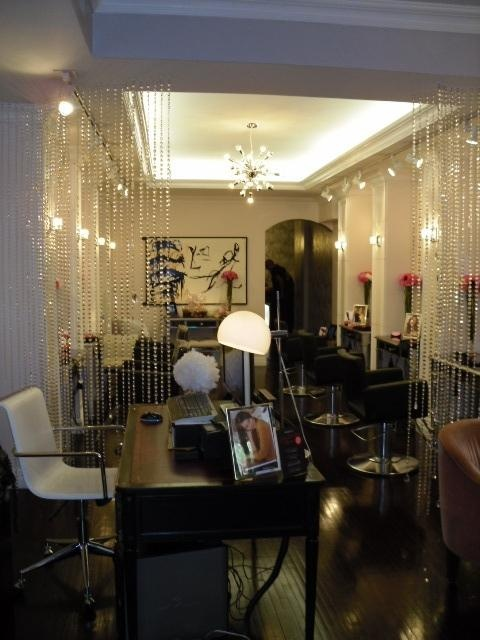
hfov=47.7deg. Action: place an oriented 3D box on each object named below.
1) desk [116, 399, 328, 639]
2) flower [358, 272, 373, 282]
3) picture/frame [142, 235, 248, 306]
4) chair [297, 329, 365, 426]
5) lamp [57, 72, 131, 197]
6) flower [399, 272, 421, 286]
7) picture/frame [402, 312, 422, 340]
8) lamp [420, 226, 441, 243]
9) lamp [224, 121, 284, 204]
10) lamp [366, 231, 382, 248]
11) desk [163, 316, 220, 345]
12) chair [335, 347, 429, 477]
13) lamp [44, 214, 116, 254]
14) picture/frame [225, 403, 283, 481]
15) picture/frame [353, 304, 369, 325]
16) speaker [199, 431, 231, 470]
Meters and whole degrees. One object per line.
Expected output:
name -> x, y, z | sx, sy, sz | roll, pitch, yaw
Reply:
desk -> -0.122, 0.827, 2.124 | 0.718, 0.719, 0.873 | -3, 6, -14
flower -> 1.890, -0.646, 8.136 | 0.138, 0.139, 0.154 | 1, 4, 3
picture/frame -> -0.595, -0.747, 7.670 | 1.215, 0.914, 0.042 | 0, -4, -7
chair -> 0.851, 0.682, 5.336 | 0.385, 0.633, 0.426 | -14, -3, 3
lamp -> -0.976, -1.239, 3.573 | 0.122, 0.892, 0.238 | 4, 47, 26
flower -> 1.771, -0.428, 5.647 | 0.288, 0.133, 0.304 | -3, 8, -12
picture/frame -> 1.931, 0.062, 6.056 | 0.041, 0.413, 0.285 | 5, 0, -30
lamp -> 1.364, -0.615, 3.875 | 0.132, 0.115, 0.039 | 3, 7, 31
lamp -> 0.149, -1.962, 6.586 | 0.412, 0.797, 0.424 | 1, 6, -10
lamp -> 1.816, -1.067, 7.259 | 0.117, 0.176, 0.351 | -1, 6, 0
desk -> -0.749, 0.148, 8.983 | 0.769, 0.405, 0.480 | -1, 6, -2
chair -> 1.054, 0.724, 4.050 | 0.594, 0.768, 0.660 | -1, 3, -5
lamp -> -1.077, -0.590, 3.686 | 0.445, 0.236, 0.198 | -5, 7, -29
picture/frame -> 0.051, 0.413, 1.828 | 0.206, 0.294, 0.021 | -2, -15, -23
picture/frame -> 1.761, -0.076, 7.884 | 0.235, 0.268, 0.477 | 0, 6, 13
speaker -> -0.090, 0.464, 2.075 | 0.085, 0.144, 0.159 | 4, -3, -13
